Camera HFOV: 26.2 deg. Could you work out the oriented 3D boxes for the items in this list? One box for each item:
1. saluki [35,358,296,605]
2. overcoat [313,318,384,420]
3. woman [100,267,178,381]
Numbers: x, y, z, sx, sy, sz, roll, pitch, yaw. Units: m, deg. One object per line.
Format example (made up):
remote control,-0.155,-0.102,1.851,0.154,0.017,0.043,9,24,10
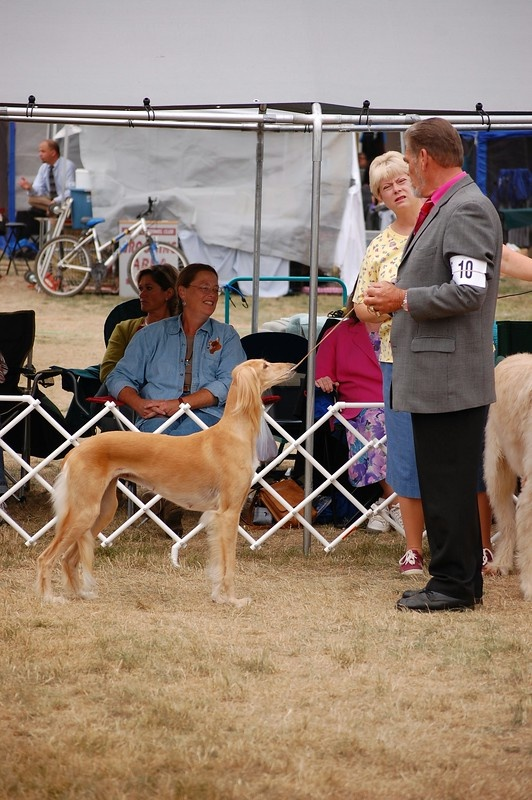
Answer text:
saluki,-0.431,0.347,4.889,1.040,1.008,0.430,1,11,0
overcoat,0.463,-0.167,6.229,0.557,0.510,0.301,-2,-5,-2
woman,-0.732,-0.464,6.760,0.513,0.686,0.255,8,-7,1
